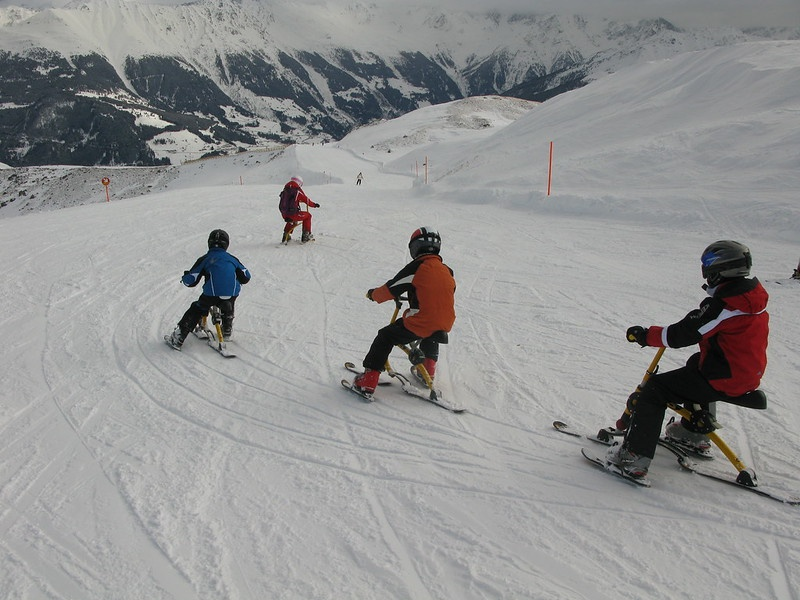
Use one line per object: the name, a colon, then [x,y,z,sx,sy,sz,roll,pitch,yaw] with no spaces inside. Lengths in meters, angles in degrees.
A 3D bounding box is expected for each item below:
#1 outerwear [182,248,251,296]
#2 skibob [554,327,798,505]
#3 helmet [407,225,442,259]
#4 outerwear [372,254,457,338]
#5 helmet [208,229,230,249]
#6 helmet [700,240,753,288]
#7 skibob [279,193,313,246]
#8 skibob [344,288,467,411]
outerwear: [-2.790,-0.456,8.776,0.835,0.535,0.820,-6,18,-37]
skibob: [3.053,1.344,6.924,2.782,1.344,1.057,22,13,17]
helmet: [0.311,-0.720,7.360,0.404,0.344,0.419,1,10,-10]
outerwear: [0.260,-0.146,7.686,1.354,0.994,1.038,9,12,23]
helmet: [-2.625,-0.936,8.779,0.315,0.318,0.352,6,13,-7]
helmet: [3.258,-0.364,5.905,0.510,0.434,0.418,-3,6,43]
skibob: [-2.589,-2.113,15.130,0.885,1.105,1.240,-7,25,-2]
skibob: [0.088,0.740,7.709,1.936,1.013,1.036,25,25,32]
